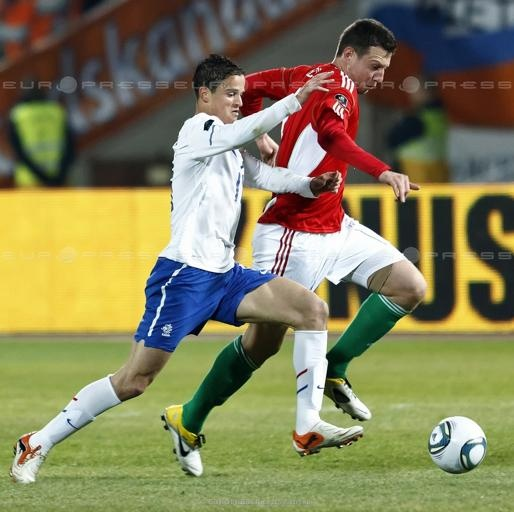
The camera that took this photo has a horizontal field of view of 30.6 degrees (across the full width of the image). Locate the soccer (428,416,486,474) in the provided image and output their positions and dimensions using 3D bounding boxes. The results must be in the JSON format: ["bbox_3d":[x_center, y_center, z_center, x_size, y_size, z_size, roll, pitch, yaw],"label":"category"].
[{"bbox_3d":[1.116,1.069,5.246,0.308,0.309,0.200,0,2,22],"label":"soccer"}]

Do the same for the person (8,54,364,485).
[{"bbox_3d":[-0.299,0.060,5.293,1.730,2.059,0.651,-1,2,4],"label":"person"}]

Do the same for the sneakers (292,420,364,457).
[{"bbox_3d":[0.393,0.985,5.170,0.424,0.160,0.137,-20,-22,22],"label":"sneakers"}]
